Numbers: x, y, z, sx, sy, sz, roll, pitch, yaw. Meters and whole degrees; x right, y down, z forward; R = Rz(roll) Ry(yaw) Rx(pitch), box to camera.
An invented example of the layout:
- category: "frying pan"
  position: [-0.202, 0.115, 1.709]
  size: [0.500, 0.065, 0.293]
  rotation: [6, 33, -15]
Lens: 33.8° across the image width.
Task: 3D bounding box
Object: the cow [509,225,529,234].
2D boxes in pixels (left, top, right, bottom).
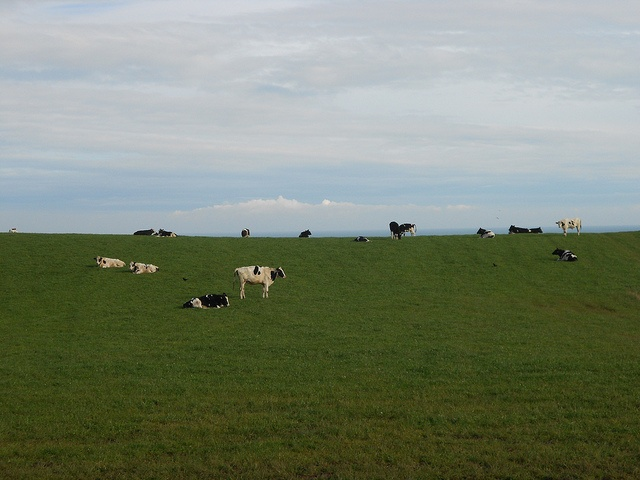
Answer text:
- category: "cow"
  position: [19.915, -0.951, 105.522]
  size: [1.877, 0.664, 4.261]
  rotation: [1, 1, 10]

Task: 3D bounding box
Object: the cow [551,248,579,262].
- category: "cow"
  position: [20.573, 1.323, 88.220]
  size: [1.875, 0.966, 2.539]
  rotation: [0, 1, 7]

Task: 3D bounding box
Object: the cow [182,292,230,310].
- category: "cow"
  position: [-7.891, 4.295, 72.913]
  size: [3.433, 1.078, 1.074]
  rotation: [-1, -3, -8]

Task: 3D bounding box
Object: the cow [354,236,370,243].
- category: "cow"
  position: [3.845, -0.036, 98.720]
  size: [1.649, 0.706, 0.530]
  rotation: [0, 9, 7]

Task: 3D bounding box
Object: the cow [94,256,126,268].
- category: "cow"
  position: [-16.539, 1.831, 83.377]
  size: [2.388, 0.809, 0.795]
  rotation: [8, -1, -30]

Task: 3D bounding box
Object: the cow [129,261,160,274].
- category: "cow"
  position: [-13.842, 2.167, 82.270]
  size: [2.159, 0.828, 0.877]
  rotation: [4, 2, -31]

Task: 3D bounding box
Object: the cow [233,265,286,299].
- category: "cow"
  position: [-4.535, 3.047, 77.483]
  size: [2.909, 2.273, 4.834]
  rotation: [1, 1, 7]
